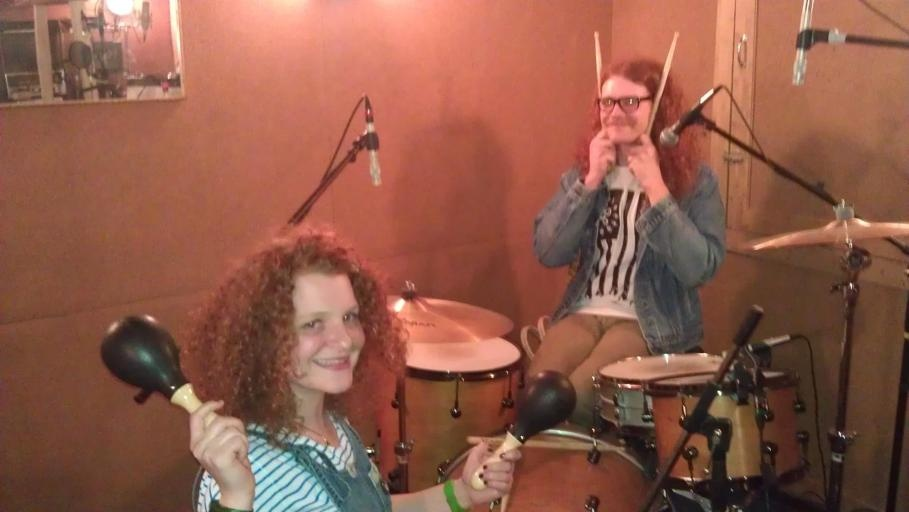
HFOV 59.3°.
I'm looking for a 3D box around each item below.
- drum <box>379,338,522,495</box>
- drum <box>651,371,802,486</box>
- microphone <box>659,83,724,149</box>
[{"bbox_3d":[-0.066,0.970,4.434,0.842,0.789,0.831,17,-20,-37],"label":"drum"},{"bbox_3d":[1.336,0.848,3.902,0.707,0.423,0.756,-7,-6,-1],"label":"drum"},{"bbox_3d":[1.078,-0.631,3.598,0.196,0.254,0.227,6,10,36],"label":"microphone"}]
